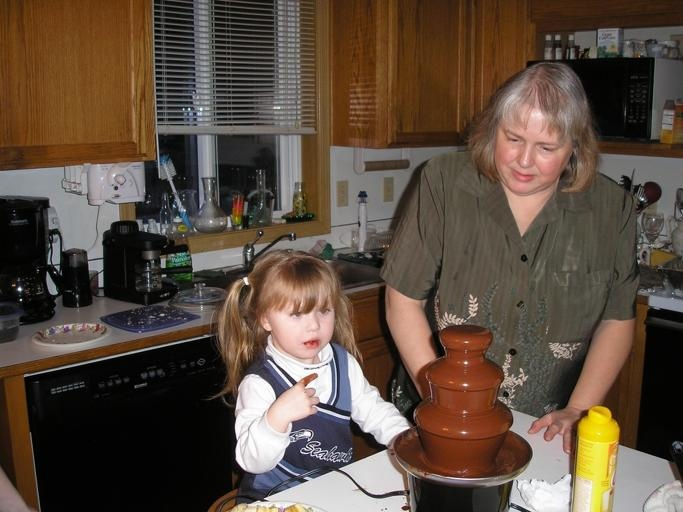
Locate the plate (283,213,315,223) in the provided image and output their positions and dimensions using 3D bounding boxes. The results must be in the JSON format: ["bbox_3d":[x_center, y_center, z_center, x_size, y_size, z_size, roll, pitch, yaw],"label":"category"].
[{"bbox_3d":[-0.253,-0.232,3.301,0.189,0.058,0.089,-6,11,-3],"label":"plate"}]

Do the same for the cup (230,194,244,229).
[{"bbox_3d":[-0.596,-0.254,3.125,0.088,0.196,0.072,-4,11,4],"label":"cup"}]

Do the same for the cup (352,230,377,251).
[{"bbox_3d":[0.146,-0.104,3.469,0.138,0.130,0.118,4,7,13],"label":"cup"}]

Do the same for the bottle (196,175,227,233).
[{"bbox_3d":[-0.735,-0.282,3.035,0.184,0.300,0.137,-12,13,-34],"label":"bottle"}]

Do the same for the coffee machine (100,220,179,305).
[{"bbox_3d":[-0.953,0.004,2.689,0.371,0.448,0.306,7,13,25],"label":"coffee machine"}]

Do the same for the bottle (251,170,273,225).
[{"bbox_3d":[-0.471,-0.350,3.264,0.128,0.317,0.266,-5,11,-1],"label":"bottle"}]

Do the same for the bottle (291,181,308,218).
[{"bbox_3d":[-0.257,-0.355,3.338,0.089,0.186,0.101,-5,11,-3],"label":"bottle"}]

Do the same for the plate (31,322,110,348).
[{"bbox_3d":[-1.048,0.304,2.141,0.265,0.042,0.216,-11,13,-28],"label":"plate"}]

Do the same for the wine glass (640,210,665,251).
[{"bbox_3d":[1.838,-0.164,3.255,0.131,0.223,0.147,2,17,24],"label":"wine glass"}]
